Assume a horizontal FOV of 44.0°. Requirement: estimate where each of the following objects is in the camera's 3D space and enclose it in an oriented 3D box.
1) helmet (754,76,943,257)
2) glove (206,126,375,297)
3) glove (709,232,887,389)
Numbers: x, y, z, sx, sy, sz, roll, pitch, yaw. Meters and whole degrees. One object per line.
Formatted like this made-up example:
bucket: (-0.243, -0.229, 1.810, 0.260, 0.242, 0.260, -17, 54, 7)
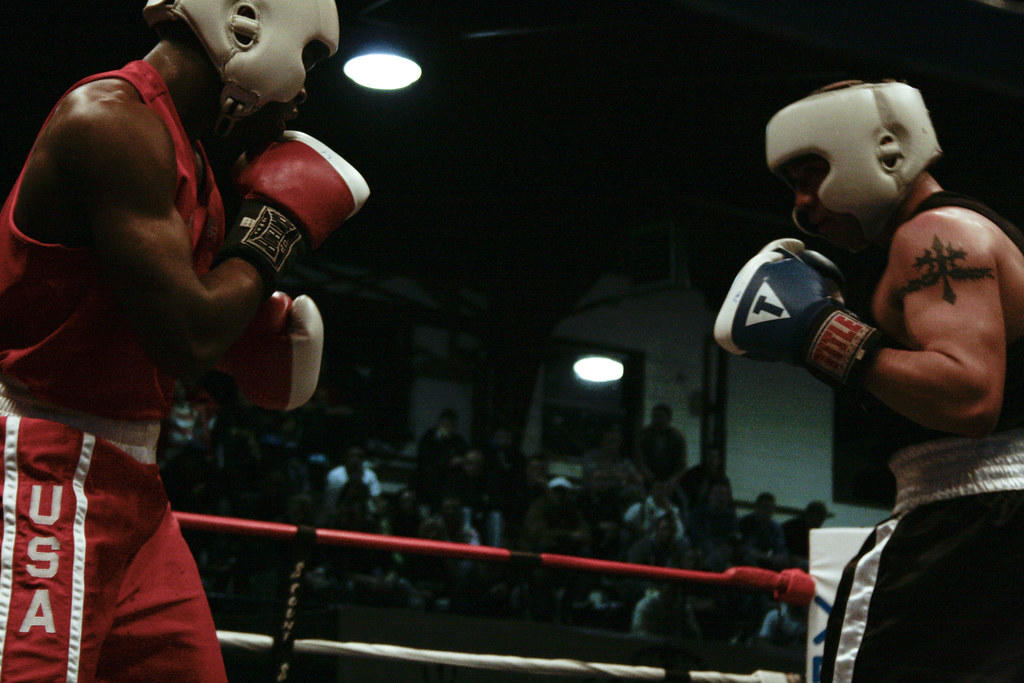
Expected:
helmet: (0.925, -0.456, 3.431, 0.440, 0.429, 0.450, -7, -10, 30)
glove: (-0.565, -0.331, 3.132, 0.314, 0.398, 0.154, 48, -13, -9)
glove: (0.784, -0.062, 3.357, 0.423, 0.250, 0.616, 7, 22, -15)
